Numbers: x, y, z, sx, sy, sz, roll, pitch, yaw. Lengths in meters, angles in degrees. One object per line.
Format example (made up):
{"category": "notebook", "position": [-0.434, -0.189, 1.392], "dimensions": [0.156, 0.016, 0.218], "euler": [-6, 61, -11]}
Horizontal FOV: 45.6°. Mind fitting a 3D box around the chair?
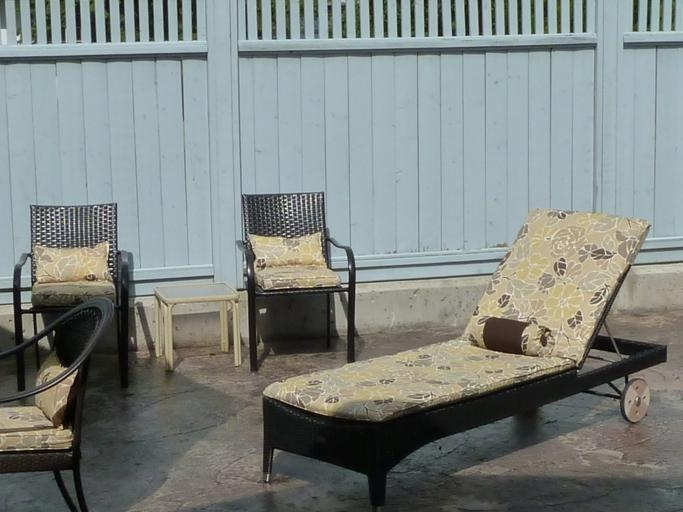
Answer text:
{"category": "chair", "position": [0.468, 0.464, 5.078], "dimensions": [2.800, 1.273, 1.639], "euler": [-9, 15, -32]}
